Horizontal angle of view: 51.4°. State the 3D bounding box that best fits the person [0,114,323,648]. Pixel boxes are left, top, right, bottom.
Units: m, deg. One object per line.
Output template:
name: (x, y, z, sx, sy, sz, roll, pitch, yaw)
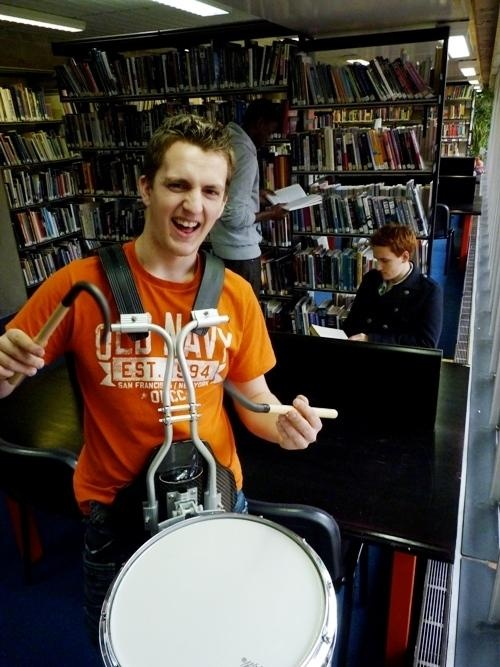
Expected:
person: (-0.174, 0.093, 0.995, 0.556, 0.973, 0.437, -3, 16, -26)
